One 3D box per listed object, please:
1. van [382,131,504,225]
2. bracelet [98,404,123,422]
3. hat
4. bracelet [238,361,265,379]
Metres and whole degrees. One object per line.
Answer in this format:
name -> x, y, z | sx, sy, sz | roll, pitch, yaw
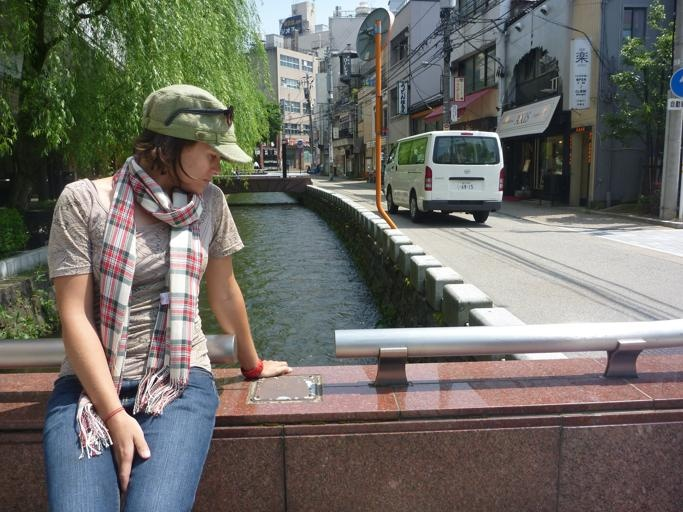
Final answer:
van -> 2.571, -1.919, 15.609 | 2.878, 2.219, 4.290 | 1, 5, 1
bracelet -> -0.926, 0.636, 2.677 | 0.060, 0.017, 0.064 | -35, -4, -12
hat -> -0.624, -0.567, 2.861 | 0.389, 0.241, 0.348 | 13, 23, -15
bracelet -> -0.458, 0.607, 3.447 | 0.078, 0.042, 0.092 | -2, 13, 12
